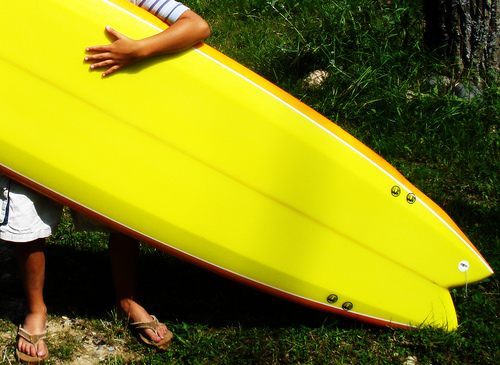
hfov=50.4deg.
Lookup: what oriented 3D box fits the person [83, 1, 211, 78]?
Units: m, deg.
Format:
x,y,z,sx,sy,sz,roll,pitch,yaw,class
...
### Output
x,y,z,sx,sy,sz,roll,pitch,yaw,class
-0.631,-0.854,3.298,0.722,0.196,0.420,-20,74,-22,person
